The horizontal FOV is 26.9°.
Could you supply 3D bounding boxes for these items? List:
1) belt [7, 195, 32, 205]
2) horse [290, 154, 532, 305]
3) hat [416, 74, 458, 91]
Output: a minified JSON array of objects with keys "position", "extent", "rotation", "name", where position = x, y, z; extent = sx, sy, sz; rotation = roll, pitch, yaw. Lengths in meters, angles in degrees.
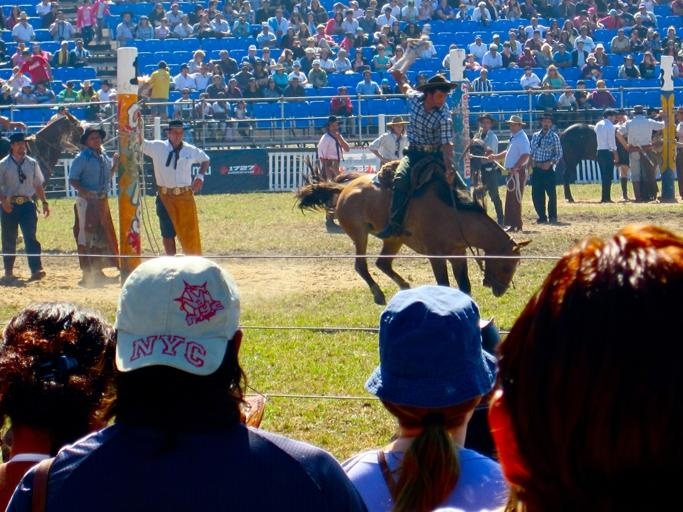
[{"position":[-6.263,-1.094,27.860],"extent":[0.521,0.188,0.102],"rotation":[-4,5,-34],"name":"belt"},{"position":[1.199,-0.419,26.339],"extent":[4.907,2.689,1.106],"rotation":[12,22,34],"name":"horse"},{"position":[1.679,-3.045,25.065],"extent":[0.551,0.316,0.584],"rotation":[-1,4,1],"name":"hat"}]
